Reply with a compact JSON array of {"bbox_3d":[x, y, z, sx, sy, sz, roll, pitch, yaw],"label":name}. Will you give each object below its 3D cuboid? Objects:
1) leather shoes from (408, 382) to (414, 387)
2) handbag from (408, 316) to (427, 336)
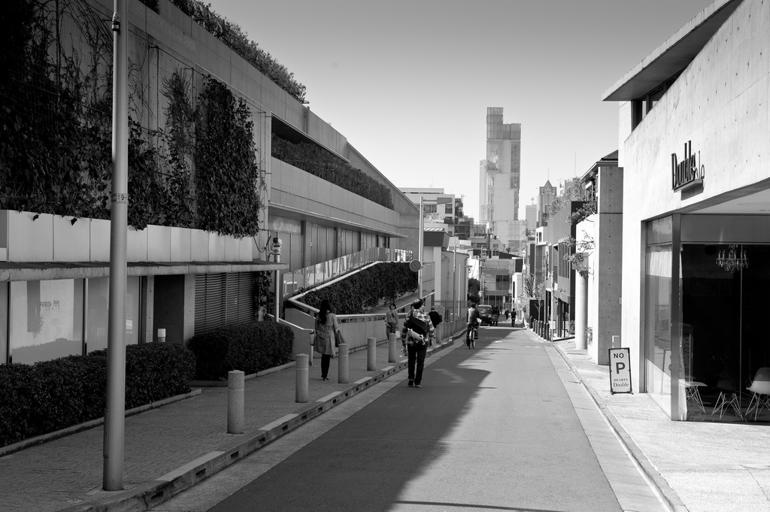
[{"bbox_3d":[0.763,3.899,20.603,0.126,0.138,0.127,4,-9,-22],"label":"leather shoes"},{"bbox_3d":[0.940,2.082,20.167,0.538,0.191,0.420,34,21,24],"label":"handbag"}]
